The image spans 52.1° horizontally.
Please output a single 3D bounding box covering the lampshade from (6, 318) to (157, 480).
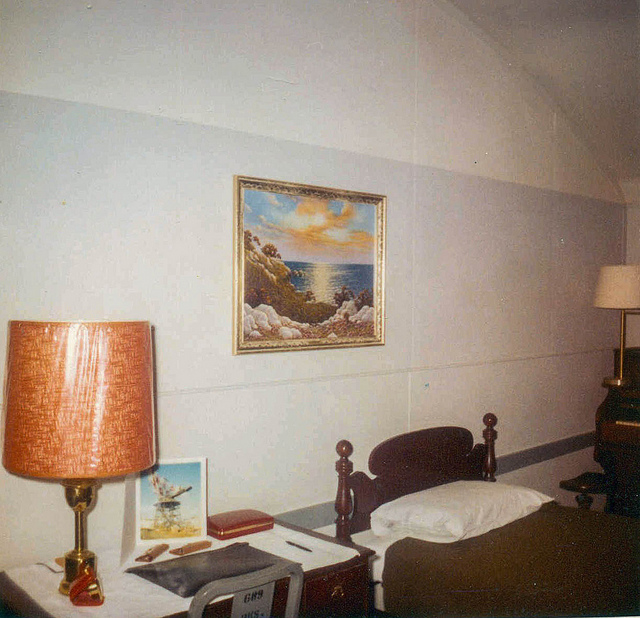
[{"bbox_3d":[-0.580,0.210,1.569,0.334,0.369,0.161,-1,2,-7],"label":"lampshade"}]

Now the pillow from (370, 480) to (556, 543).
[{"bbox_3d":[0.570,0.777,2.573,0.456,0.178,0.794,-7,-8,42],"label":"pillow"}]

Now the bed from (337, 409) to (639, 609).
[{"bbox_3d":[0.607,0.782,2.305,0.733,0.609,0.749,0,2,45],"label":"bed"}]
